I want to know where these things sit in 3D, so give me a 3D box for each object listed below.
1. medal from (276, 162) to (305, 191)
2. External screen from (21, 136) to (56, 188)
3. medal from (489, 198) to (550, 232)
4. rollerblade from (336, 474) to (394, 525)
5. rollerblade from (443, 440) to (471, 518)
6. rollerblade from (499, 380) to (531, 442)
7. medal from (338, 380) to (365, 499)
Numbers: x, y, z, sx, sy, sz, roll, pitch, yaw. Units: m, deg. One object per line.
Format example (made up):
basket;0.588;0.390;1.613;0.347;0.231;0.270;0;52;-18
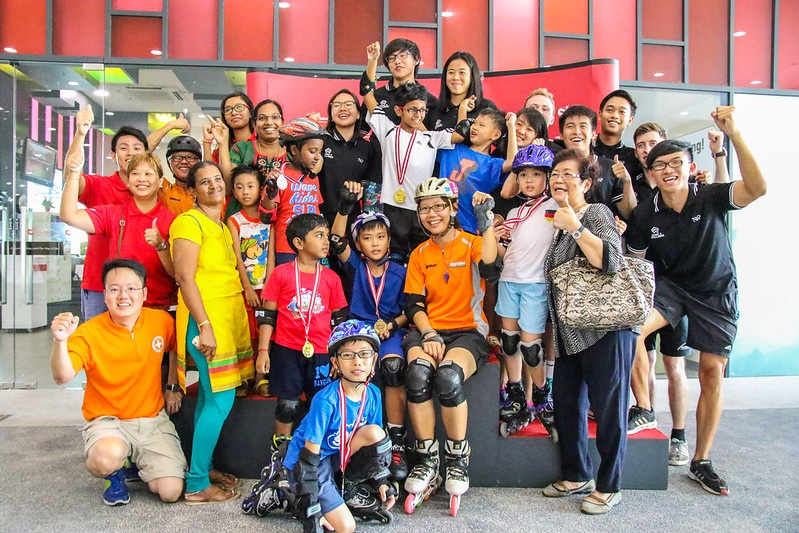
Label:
medal;-1.034;-0.853;6.204;0.264;0.183;0.068;-8;-24;-13
External screen;-4.518;-1.276;8.163;0.047;0.504;0.396;-11;-17;30
medal;1.121;-0.500;5.947;0.646;0.191;0.112;-36;64;-27
rollerblade;-0.170;1.898;5.274;0.677;0.365;0.216;-3;-3;-1
rollerblade;0.483;1.743;5.426;0.191;0.568;0.315;1;11;3
rollerblade;1.020;1.269;5.922;0.171;0.365;0.530;-19;12;37
medal;-0.369;1.295;5.247;0.230;0.727;0.145;-1;11;-5
